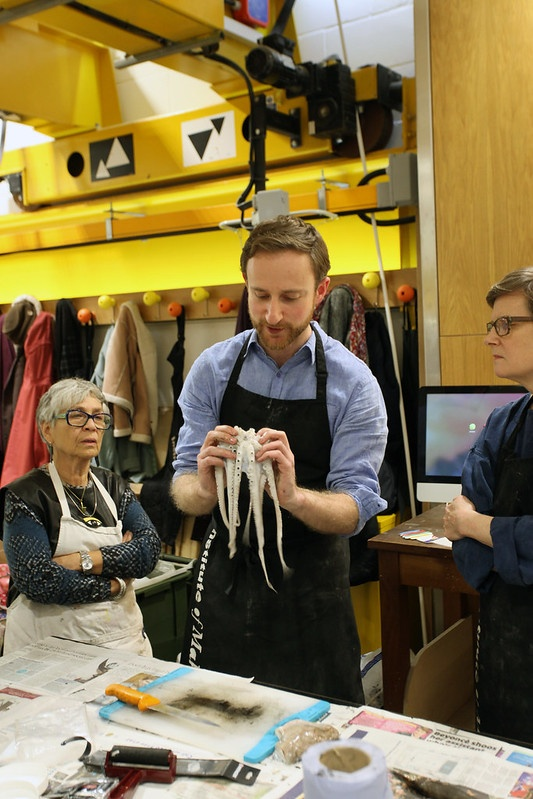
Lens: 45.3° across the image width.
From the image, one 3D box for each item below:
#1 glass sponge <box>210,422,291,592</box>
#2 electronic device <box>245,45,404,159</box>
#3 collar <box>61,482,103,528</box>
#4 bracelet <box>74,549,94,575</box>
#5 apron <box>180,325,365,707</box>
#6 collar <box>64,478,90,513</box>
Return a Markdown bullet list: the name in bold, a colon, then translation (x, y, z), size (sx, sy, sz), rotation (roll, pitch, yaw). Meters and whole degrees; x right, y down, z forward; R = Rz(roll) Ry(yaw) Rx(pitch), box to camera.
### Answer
- **glass sponge**: translation (-0.032, 0.253, 1.435), size (0.158, 0.366, 0.345), rotation (-2, -7, 2)
- **electronic device**: translation (0.206, -1.393, 2.927), size (0.324, 0.502, 0.911), rotation (2, 4, 37)
- **collar**: translation (-0.622, 0.331, 2.170), size (0.104, 0.041, 0.165), rotation (-9, 30, -32)
- **bracelet**: translation (-0.576, 0.517, 2.039), size (0.044, 0.071, 0.063), rotation (-7, -10, -27)
- **apron**: translation (0.049, 0.256, 1.617), size (0.419, 0.921, 0.407), rotation (8, 14, 16)
- **collar**: translation (-0.638, 0.330, 2.169), size (0.088, 0.086, 0.029), rotation (-5, 7, -36)
